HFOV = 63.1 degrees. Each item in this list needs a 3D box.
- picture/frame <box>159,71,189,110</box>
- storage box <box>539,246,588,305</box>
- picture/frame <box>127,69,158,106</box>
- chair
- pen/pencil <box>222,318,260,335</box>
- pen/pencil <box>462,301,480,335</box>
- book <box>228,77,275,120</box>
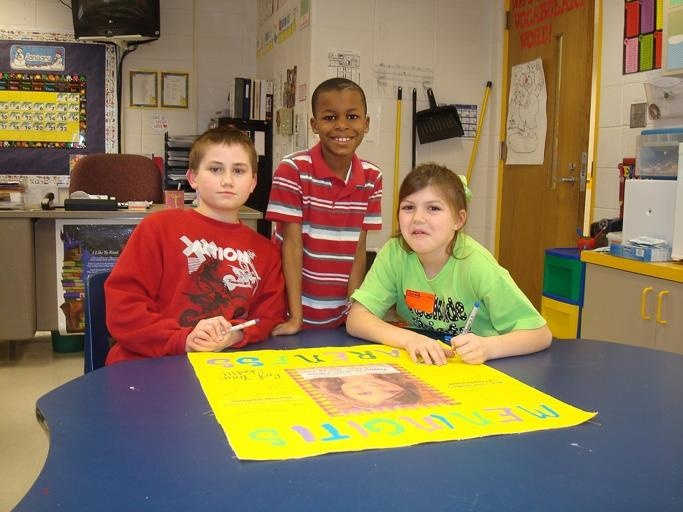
[{"bbox_3d":[-1.783,-1.763,5.879,0.351,0.471,0.033,-2,6,-11],"label":"picture/frame"},{"bbox_3d":[1.260,0.103,3.119,0.250,0.269,0.257,-4,8,-30],"label":"storage box"},{"bbox_3d":[-2.094,-1.777,5.819,0.341,0.473,0.034,-1,6,-17],"label":"picture/frame"},{"bbox_3d":[-1.595,-0.554,3.920,0.393,0.578,0.451,0,6,-16],"label":"chair"},{"bbox_3d":[-0.264,0.186,1.458,0.106,0.017,0.018,-14,39,8],"label":"pen/pencil"},{"bbox_3d":[0.355,0.167,1.533,0.014,0.110,0.019,22,12,1],"label":"pen/pencil"},{"bbox_3d":[-0.868,-1.390,5.339,0.341,0.523,0.492,-1,6,-10],"label":"book"}]
